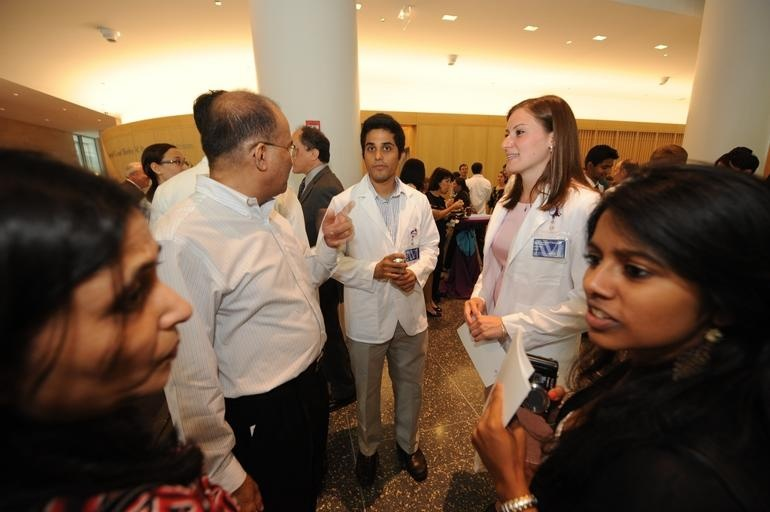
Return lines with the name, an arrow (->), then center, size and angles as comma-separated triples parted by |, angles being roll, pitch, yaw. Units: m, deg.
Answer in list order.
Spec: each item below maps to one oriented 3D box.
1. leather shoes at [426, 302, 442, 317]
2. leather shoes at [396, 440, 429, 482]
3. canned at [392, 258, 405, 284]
leather shoes -> 0.468, 0.525, 4.570 | 0.188, 0.045, 0.113 | 16, 21, 34
leather shoes -> 0.155, 1.171, 2.622 | 0.082, 0.100, 0.227 | -4, 1, -19
canned -> 0.073, 0.071, 2.419 | 0.032, 0.099, 0.071 | 8, 2, 5
